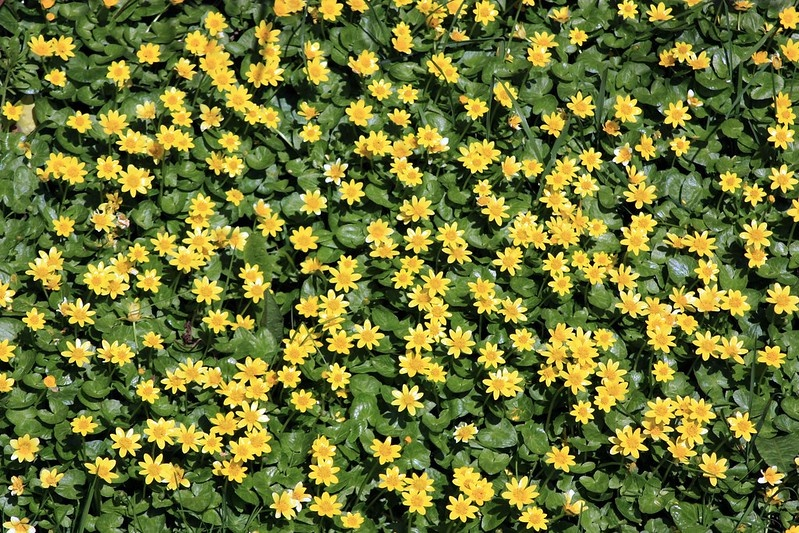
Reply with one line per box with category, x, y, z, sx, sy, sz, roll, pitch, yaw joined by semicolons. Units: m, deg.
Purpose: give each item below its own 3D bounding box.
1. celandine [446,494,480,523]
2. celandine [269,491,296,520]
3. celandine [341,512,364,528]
celandine;0.344;1.319;4.456;0.178;0.141;0.136;23;64;7
celandine;-0.627;1.293;4.459;0.130;0.143;0.134;-2;64;-5
celandine;-0.252;1.378;4.478;0.121;0.095;0.075;6;63;-2
